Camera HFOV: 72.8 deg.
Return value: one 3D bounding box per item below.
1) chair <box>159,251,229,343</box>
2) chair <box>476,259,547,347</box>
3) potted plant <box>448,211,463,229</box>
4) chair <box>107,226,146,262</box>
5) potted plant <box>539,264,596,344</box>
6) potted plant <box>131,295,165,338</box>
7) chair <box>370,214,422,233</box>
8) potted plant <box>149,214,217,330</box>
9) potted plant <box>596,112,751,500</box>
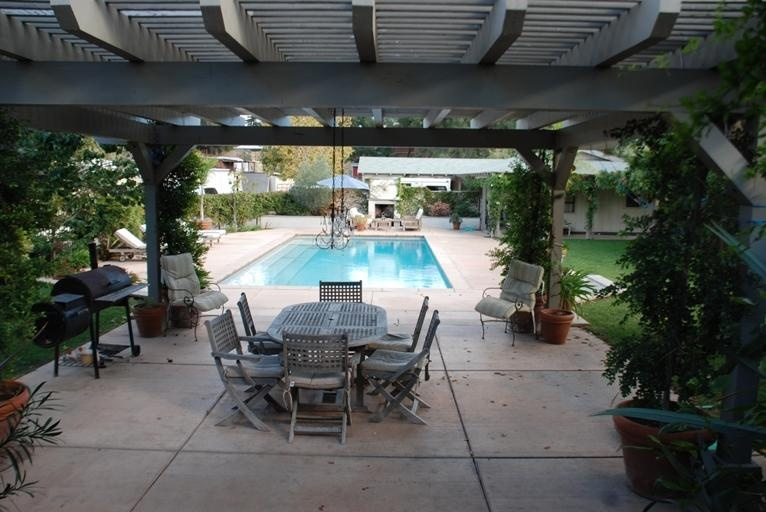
[{"bbox_3d":[-3.229,0.630,8.939,1.152,1.152,1.088,16,12,41],"label":"chair"},{"bbox_3d":[2.115,0.760,8.764,1.038,1.112,0.846,-10,13,-39],"label":"chair"},{"bbox_3d":[3.587,-1.707,25.275,0.530,0.751,0.771,-3,14,-16],"label":"potted plant"},{"bbox_3d":[-7.365,-0.205,15.386,1.181,0.652,0.626,-1,-10,-22],"label":"chair"},{"bbox_3d":[3.059,0.822,8.823,1.104,1.173,0.711,14,-2,-39],"label":"potted plant"},{"bbox_3d":[-3.804,0.988,8.593,0.661,0.450,0.638,2,3,3],"label":"potted plant"},{"bbox_3d":[0.532,-1.501,24.520,2.406,0.511,0.968,4,13,16],"label":"chair"},{"bbox_3d":[-3.255,0.512,8.964,0.898,1.229,0.830,-1,7,10],"label":"potted plant"},{"bbox_3d":[2.506,0.480,4.633,1.068,3.383,1.982,6,15,22],"label":"potted plant"}]
